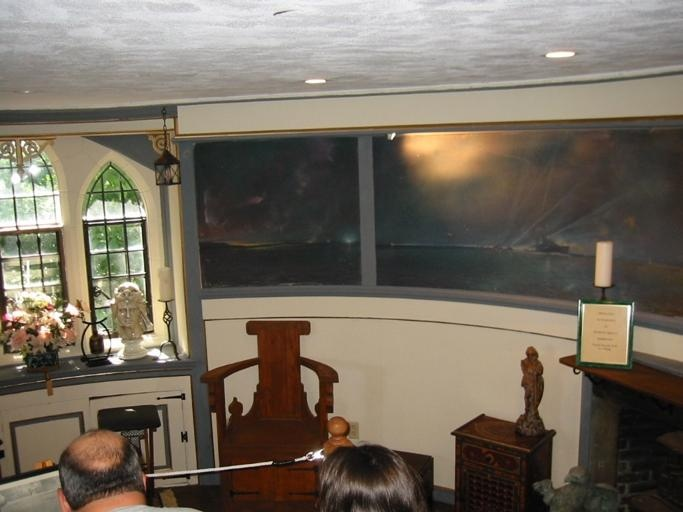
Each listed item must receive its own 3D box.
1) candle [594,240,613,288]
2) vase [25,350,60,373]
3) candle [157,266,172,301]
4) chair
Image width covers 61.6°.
[{"bbox_3d":[1.538,0.054,3.364,0.106,0.267,0.090,-3,2,31],"label":"candle"},{"bbox_3d":[-2.405,0.850,4.623,0.210,0.114,0.195,0,4,-20],"label":"vase"},{"bbox_3d":[-1.488,0.241,4.886,0.128,0.253,0.368,-5,1,-17],"label":"candle"},{"bbox_3d":[-0.530,1.196,4.359,0.977,1.102,0.660,-4,2,-13],"label":"chair"}]
